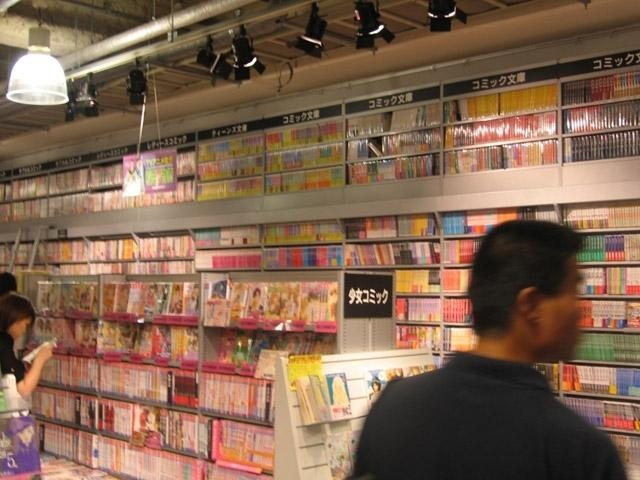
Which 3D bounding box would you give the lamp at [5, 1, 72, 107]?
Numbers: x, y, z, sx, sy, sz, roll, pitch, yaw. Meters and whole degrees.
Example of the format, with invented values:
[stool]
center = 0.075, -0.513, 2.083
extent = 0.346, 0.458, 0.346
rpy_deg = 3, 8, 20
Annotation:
[lamp]
center = -2.353, -1.489, 4.781
extent = 0.579, 0.725, 0.613
rpy_deg = 2, -8, -23
